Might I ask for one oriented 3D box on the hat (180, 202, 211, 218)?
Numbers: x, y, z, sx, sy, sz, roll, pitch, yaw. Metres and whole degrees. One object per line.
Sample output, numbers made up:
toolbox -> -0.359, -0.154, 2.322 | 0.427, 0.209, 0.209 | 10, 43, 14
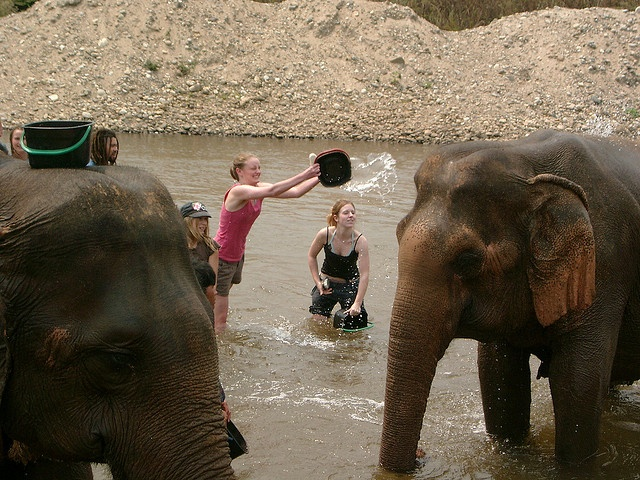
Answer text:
hat -> -0.898, -0.208, 7.443 | 0.123, 0.081, 0.163 | 1, -3, -44

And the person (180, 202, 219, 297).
person -> -0.914, 0.241, 7.509 | 0.336, 0.980, 0.297 | 2, -2, -6

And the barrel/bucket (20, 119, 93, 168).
barrel/bucket -> -1.100, -0.358, 4.277 | 0.311, 0.171, 0.297 | -3, -9, 0
